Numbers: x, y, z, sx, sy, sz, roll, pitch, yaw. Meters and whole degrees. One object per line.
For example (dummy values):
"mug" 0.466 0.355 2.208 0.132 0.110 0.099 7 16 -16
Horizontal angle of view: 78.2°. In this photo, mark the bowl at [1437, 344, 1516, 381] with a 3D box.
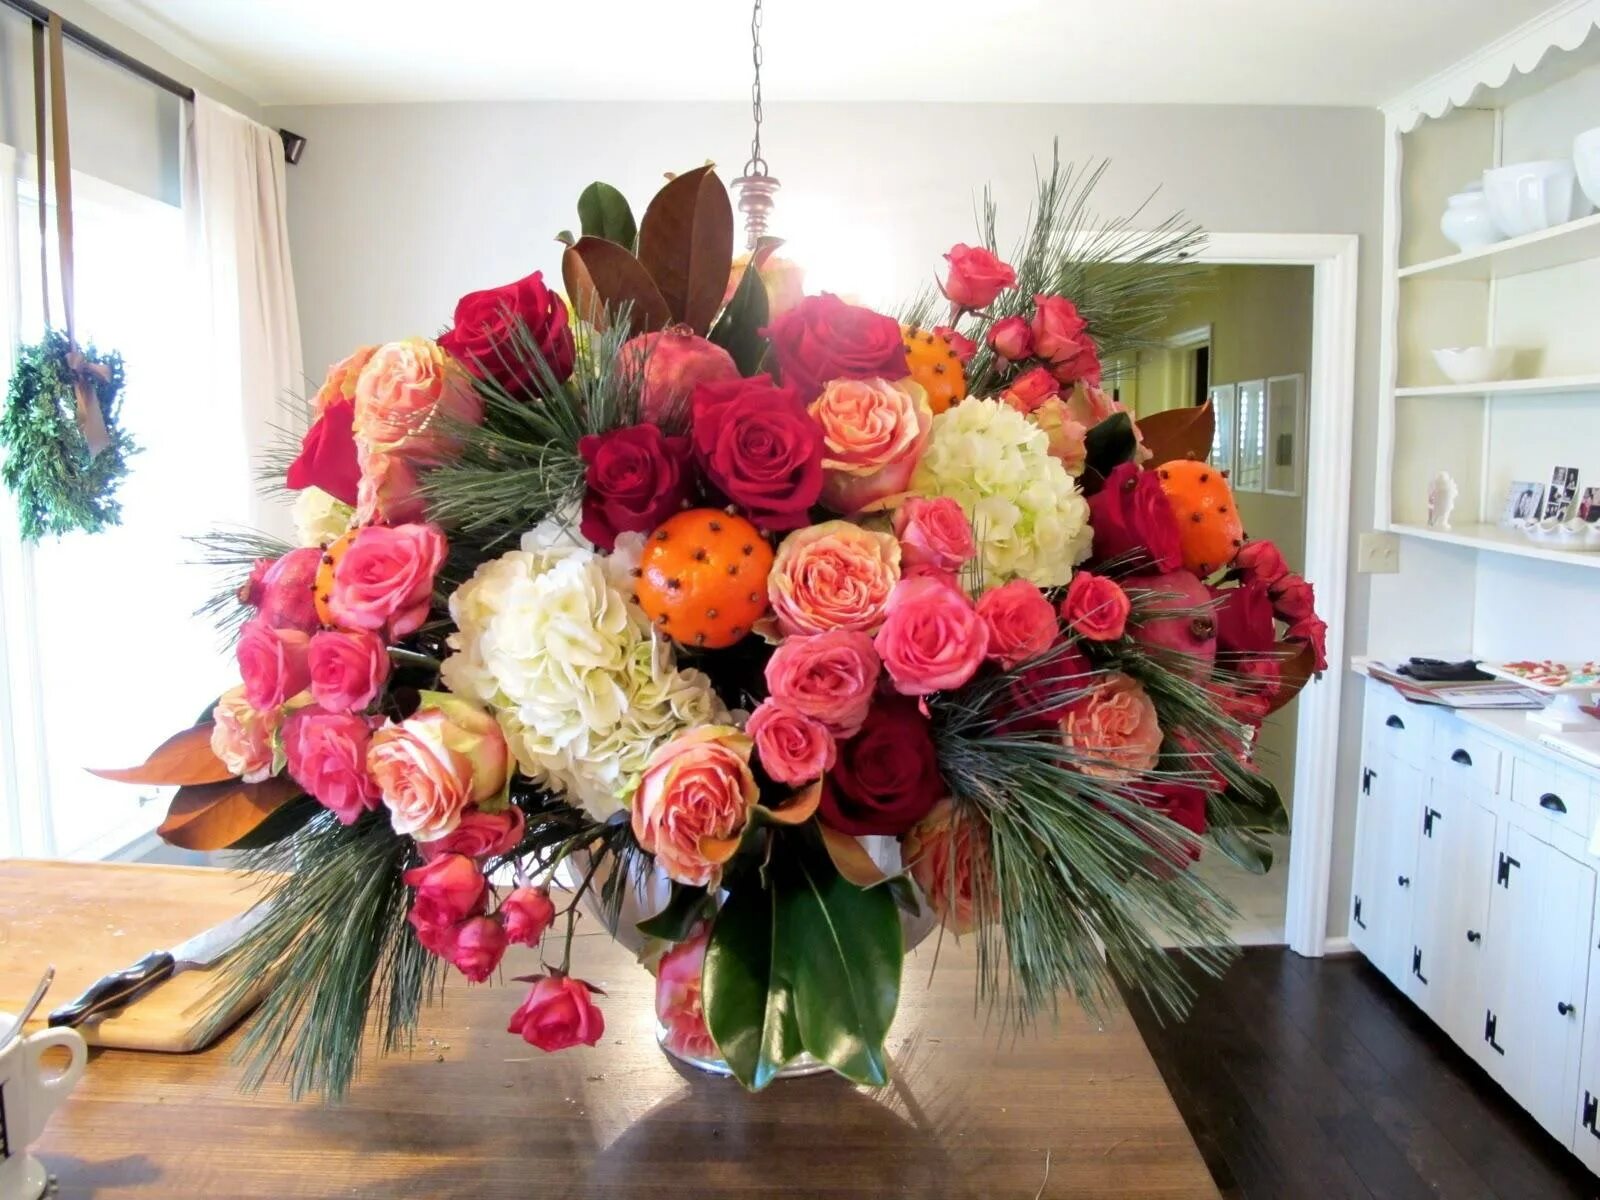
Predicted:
"bowl" 2.145 -0.750 3.156 0.166 0.073 0.164 0 2 0

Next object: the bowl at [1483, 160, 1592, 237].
"bowl" 2.099 -1.158 2.837 0.234 0.197 0.238 -5 7 1

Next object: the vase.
"vase" -0.116 0.340 0.948 0.287 0.211 0.254 0 0 -9
